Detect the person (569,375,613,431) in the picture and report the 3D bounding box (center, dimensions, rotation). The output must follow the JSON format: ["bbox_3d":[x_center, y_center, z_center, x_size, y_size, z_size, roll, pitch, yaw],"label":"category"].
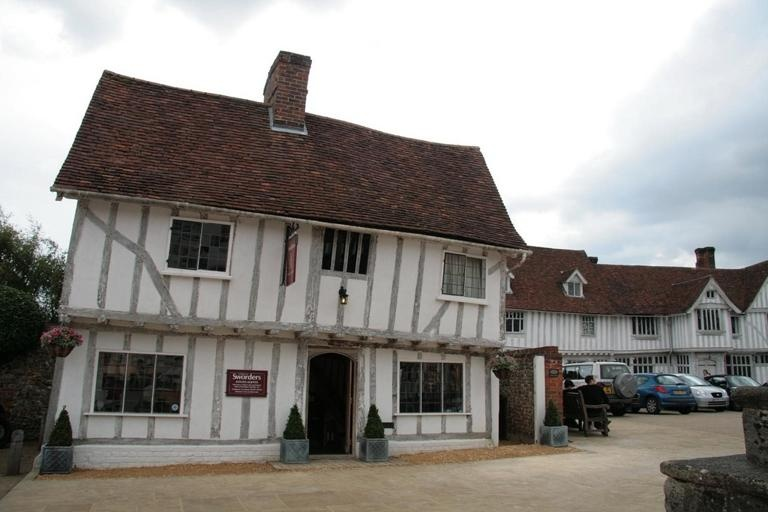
[{"bbox_3d":[7.343,5.347,18.861,0.910,1.395,2.214,-4,-8,16],"label":"person"}]

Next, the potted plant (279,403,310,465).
[{"bbox_3d":[-2.398,4.727,14.374,0.628,1.000,0.612,-3,7,-35],"label":"potted plant"}]

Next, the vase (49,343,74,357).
[{"bbox_3d":[-7.895,2.301,13.133,0.429,0.224,0.416,9,-15,-26],"label":"vase"}]

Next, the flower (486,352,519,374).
[{"bbox_3d":[3.721,3.358,16.993,0.847,0.559,0.469,8,-19,-29],"label":"flower"}]

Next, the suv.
[{"bbox_3d":[8.974,5.485,22.778,2.140,1.769,3.726,3,-7,-19],"label":"suv"}]

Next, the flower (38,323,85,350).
[{"bbox_3d":[-7.848,1.984,13.273,0.734,0.466,0.725,2,-8,-4],"label":"flower"}]

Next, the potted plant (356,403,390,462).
[{"bbox_3d":[-0.268,4.982,15.105,0.804,1.101,0.777,-18,-24,27],"label":"potted plant"}]

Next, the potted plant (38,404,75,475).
[{"bbox_3d":[-7.735,4.364,12.787,0.659,1.500,0.348,5,-18,-18],"label":"potted plant"}]

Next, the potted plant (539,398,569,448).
[{"bbox_3d":[5.333,5.231,16.830,0.761,0.934,0.726,1,-9,25],"label":"potted plant"}]

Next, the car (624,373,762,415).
[{"bbox_3d":[13.116,6.112,24.054,4.125,1.727,1.895,4,-17,-16],"label":"car"}]

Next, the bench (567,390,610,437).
[{"bbox_3d":[6.967,5.313,18.277,0.755,0.950,1.819,1,-9,-4],"label":"bench"}]

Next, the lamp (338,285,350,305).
[{"bbox_3d":[-1.134,1.060,15.085,0.279,0.549,0.322,-2,-17,4],"label":"lamp"}]
